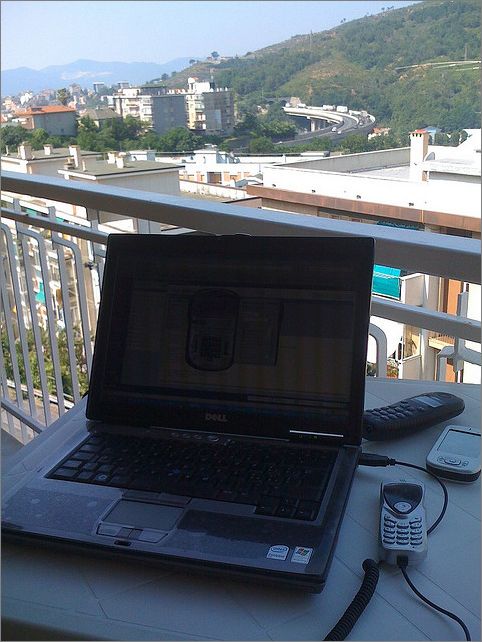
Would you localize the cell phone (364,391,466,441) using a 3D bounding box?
[{"bbox_3d":[0.181,0.101,0.601,0.119,0.020,0.047,-13,20,-36],"label":"cell phone"}]
